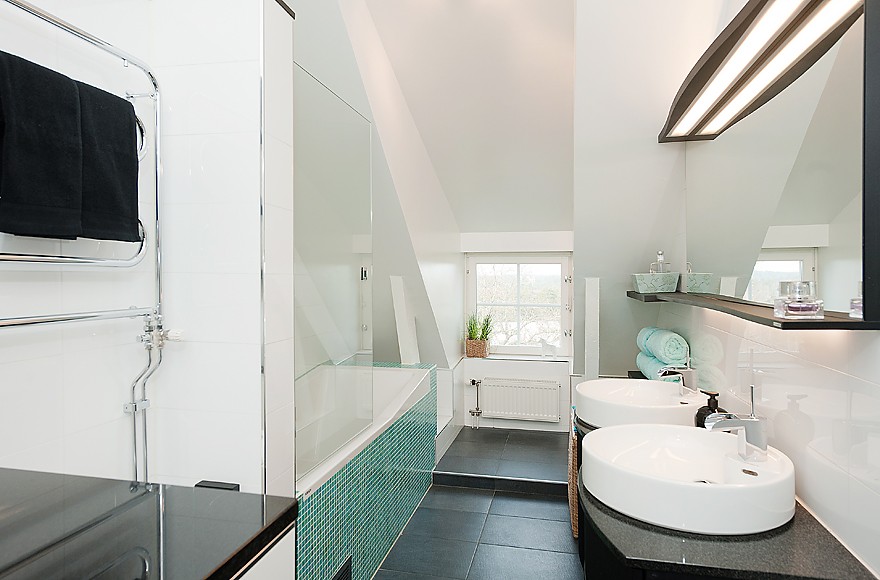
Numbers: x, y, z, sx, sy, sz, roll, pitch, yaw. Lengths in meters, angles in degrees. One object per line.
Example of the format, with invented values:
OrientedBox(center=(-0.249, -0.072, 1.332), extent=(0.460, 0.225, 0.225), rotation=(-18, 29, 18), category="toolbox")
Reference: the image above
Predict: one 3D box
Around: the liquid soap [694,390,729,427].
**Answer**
OrientedBox(center=(1.277, 0.534, 2.567), extent=(0.128, 0.117, 0.216), rotation=(-4, -23, 33), category="liquid soap")

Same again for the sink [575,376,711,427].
OrientedBox(center=(1.020, 0.585, 2.842), extent=(0.563, 0.200, 0.625), rotation=(-2, 4, -12), category="sink")

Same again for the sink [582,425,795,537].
OrientedBox(center=(0.933, 0.699, 2.134), extent=(0.739, 0.269, 0.516), rotation=(0, 4, 15), category="sink")

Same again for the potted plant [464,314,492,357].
OrientedBox(center=(0.372, 0.443, 5.395), extent=(0.274, 0.401, 0.221), rotation=(-1, 4, 5), category="potted plant")

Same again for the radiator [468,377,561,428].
OrientedBox(center=(0.686, 1.032, 5.155), extent=(0.839, 0.399, 0.087), rotation=(0, 4, 16), category="radiator")

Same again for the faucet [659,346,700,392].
OrientedBox(center=(1.380, 0.424, 3.150), extent=(0.213, 0.108, 0.135), rotation=(-20, 8, -39), category="faucet")
